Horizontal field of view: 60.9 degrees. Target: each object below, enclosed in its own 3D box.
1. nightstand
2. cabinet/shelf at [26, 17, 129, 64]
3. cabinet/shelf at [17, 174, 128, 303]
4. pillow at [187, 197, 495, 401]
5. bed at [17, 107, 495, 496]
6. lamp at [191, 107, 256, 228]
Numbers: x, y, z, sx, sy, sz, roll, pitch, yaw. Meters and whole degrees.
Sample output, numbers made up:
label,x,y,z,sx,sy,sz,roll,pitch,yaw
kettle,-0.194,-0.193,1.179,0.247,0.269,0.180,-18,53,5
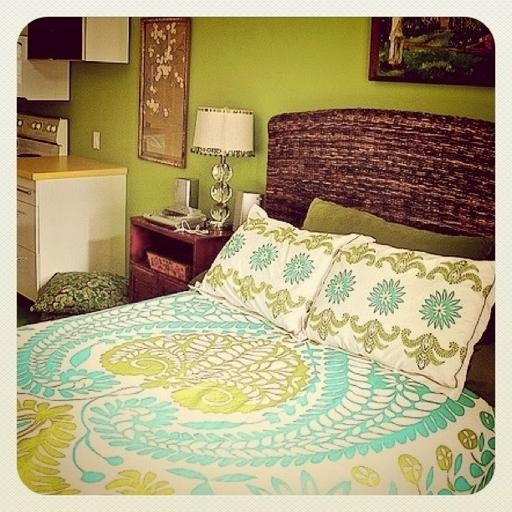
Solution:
label,x,y,z,sx,sy,sz,roll,pitch,yaw
nightstand,-0.580,0.144,3.059,0.601,0.574,0.336,22,25,30
cabinet/shelf,-1.543,-1.818,3.688,1.066,0.338,0.325,10,16,27
cabinet/shelf,-1.759,-0.320,3.866,0.820,1.050,0.830,21,29,20
pillow,0.661,0.032,1.936,0.712,0.283,0.978,-33,34,-29
bed,0.033,0.107,1.867,1.471,0.913,1.477,-10,20,-36
lamp,-0.226,-0.564,2.894,0.561,0.784,0.562,2,10,-10
